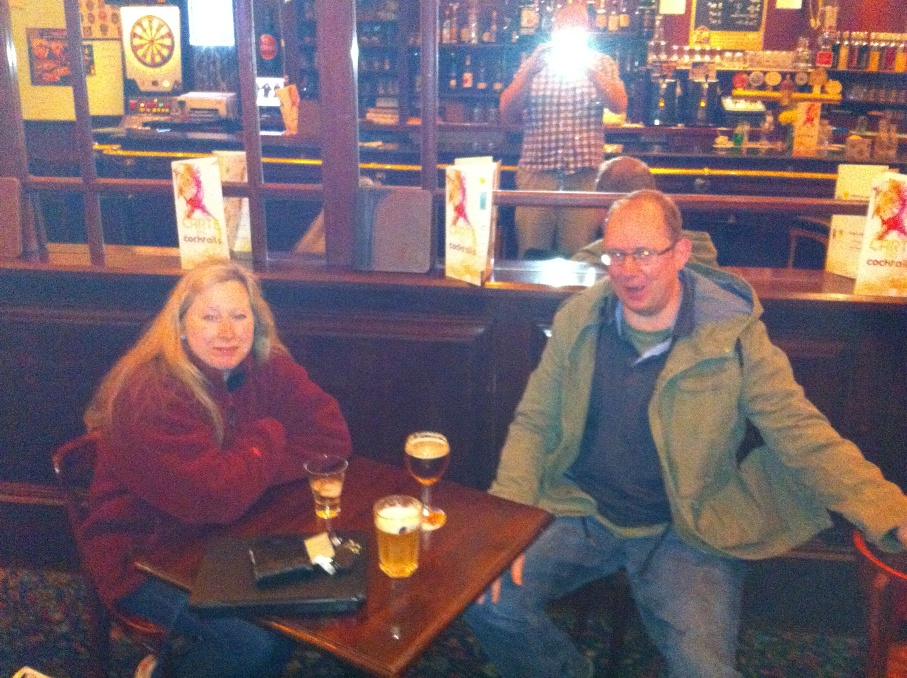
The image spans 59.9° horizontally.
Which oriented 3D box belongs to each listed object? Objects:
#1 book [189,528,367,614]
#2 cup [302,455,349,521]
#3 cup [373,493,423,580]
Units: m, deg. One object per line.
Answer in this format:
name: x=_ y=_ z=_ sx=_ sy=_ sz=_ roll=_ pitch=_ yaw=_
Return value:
book: x=-0.422 y=0.571 z=1.954 sx=0.413 sy=0.114 sz=0.209 roll=0 pitch=15 yaw=-2
cup: x=-0.356 y=0.404 z=2.190 sx=0.156 sy=0.165 sz=0.153 roll=-2 pitch=10 yaw=0
cup: x=-0.143 y=0.494 z=2.030 sx=0.127 sy=0.171 sz=0.187 roll=-1 pitch=16 yaw=-5
